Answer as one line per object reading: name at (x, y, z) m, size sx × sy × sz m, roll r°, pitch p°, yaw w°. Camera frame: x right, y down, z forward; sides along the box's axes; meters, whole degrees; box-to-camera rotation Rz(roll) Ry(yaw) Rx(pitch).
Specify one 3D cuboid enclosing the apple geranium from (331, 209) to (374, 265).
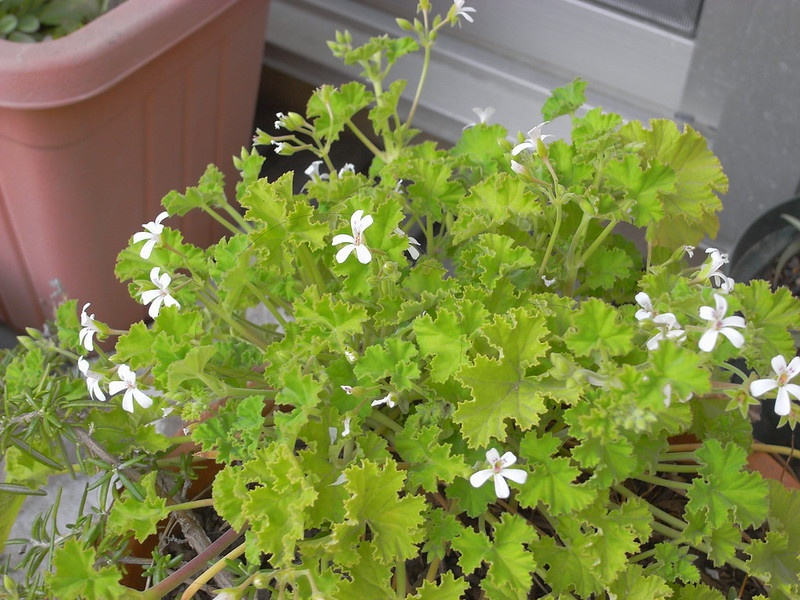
apple geranium at (-0.084, -0.120, 1.200) m, size 0.035 × 0.095 × 0.100 m, roll 25°, pitch 32°, yaw -51°

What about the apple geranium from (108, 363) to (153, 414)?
apple geranium at (-0.547, 0.183, 1.226) m, size 0.055 × 0.095 × 0.127 m, roll -14°, pitch 45°, yaw -37°

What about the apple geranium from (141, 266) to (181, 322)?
apple geranium at (-0.489, -0.006, 1.297) m, size 0.096 × 0.036 × 0.110 m, roll -6°, pitch 78°, yaw -18°

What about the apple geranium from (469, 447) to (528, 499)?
apple geranium at (0.162, 0.296, 1.075) m, size 0.068 × 0.029 × 0.075 m, roll 7°, pitch 12°, yaw 44°
